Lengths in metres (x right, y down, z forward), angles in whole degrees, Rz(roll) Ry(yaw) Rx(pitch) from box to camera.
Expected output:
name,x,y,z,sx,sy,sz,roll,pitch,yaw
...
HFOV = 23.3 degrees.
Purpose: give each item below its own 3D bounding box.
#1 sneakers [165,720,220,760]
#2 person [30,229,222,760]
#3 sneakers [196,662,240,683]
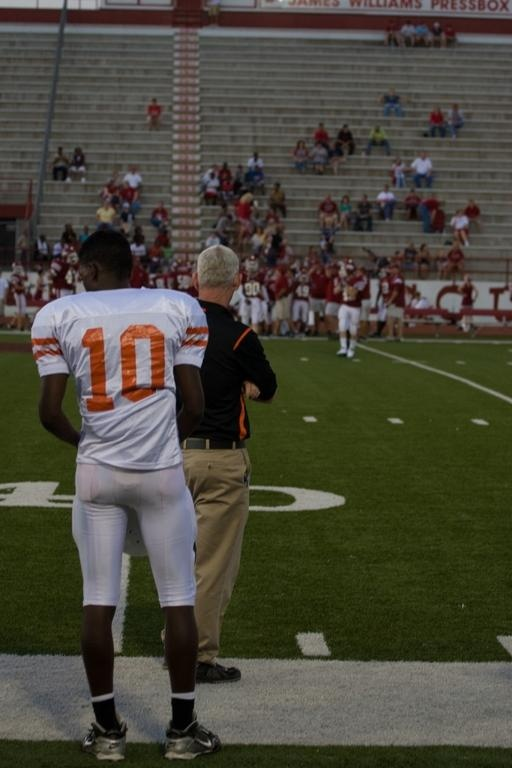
name,x,y,z,sx,sy,sz,roll,pitch,yaw
sneakers,-0.193,1.133,3.973,0.078,0.099,0.210,4,-2,41
person,-0.407,0.344,3.966,0.580,1.662,0.415,-1,5,-11
sneakers,-0.141,1.062,4.545,0.188,0.092,0.064,1,11,-2
